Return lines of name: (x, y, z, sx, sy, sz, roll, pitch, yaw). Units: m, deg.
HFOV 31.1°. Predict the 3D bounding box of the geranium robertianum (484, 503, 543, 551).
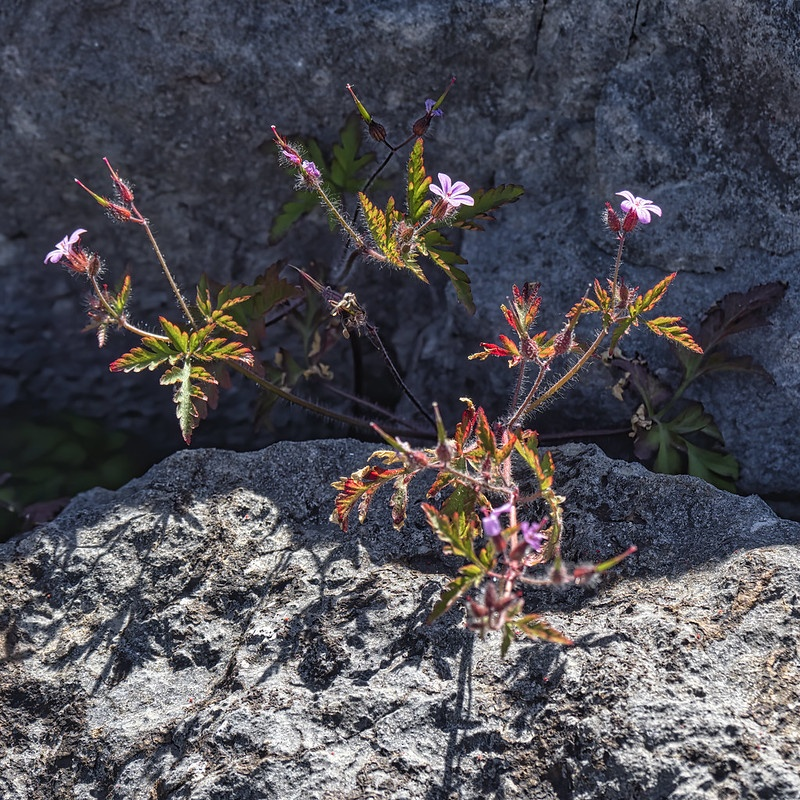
geranium robertianum: (0.368, 0.409, 4.656, 0.088, 0.153, 0.089, -41, 83, 4)
